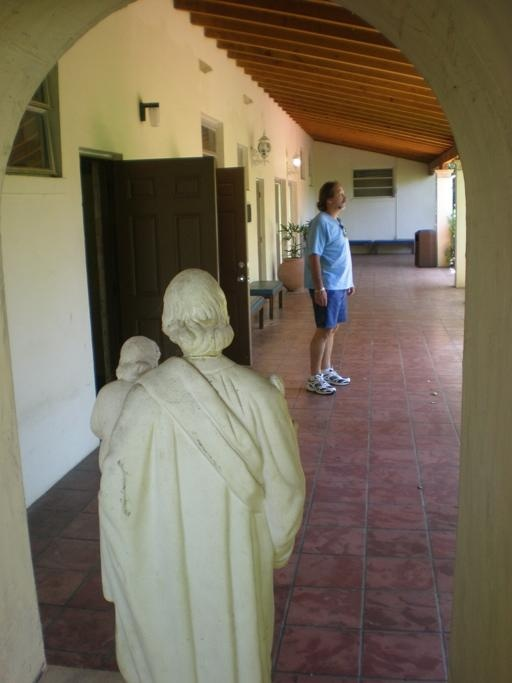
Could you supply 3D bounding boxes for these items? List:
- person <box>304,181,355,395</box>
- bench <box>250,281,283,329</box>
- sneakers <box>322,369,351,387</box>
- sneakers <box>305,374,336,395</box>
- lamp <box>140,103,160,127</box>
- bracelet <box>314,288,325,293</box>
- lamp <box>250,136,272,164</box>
[{"bbox_3d":[0.688,-0.481,4.985,0.452,2.006,0.803,0,9,10],"label":"person"},{"bbox_3d":[0.198,-0.521,9.077,0.566,0.533,1.090,2,13,9],"label":"bench"},{"bbox_3d":[0.820,0.380,5.465,0.335,0.162,0.147,13,11,21],"label":"sneakers"},{"bbox_3d":[0.632,0.412,5.209,0.317,0.173,0.137,8,12,44],"label":"sneakers"},{"bbox_3d":[-1.062,-2.247,5.148,0.197,0.238,0.297,-3,9,-12],"label":"lamp"},{"bbox_3d":[0.587,-0.464,4.671,0.072,0.037,0.167,7,13,42],"label":"bracelet"},{"bbox_3d":[0.106,-3.878,10.633,0.244,0.581,1.056,0,10,10],"label":"lamp"}]
